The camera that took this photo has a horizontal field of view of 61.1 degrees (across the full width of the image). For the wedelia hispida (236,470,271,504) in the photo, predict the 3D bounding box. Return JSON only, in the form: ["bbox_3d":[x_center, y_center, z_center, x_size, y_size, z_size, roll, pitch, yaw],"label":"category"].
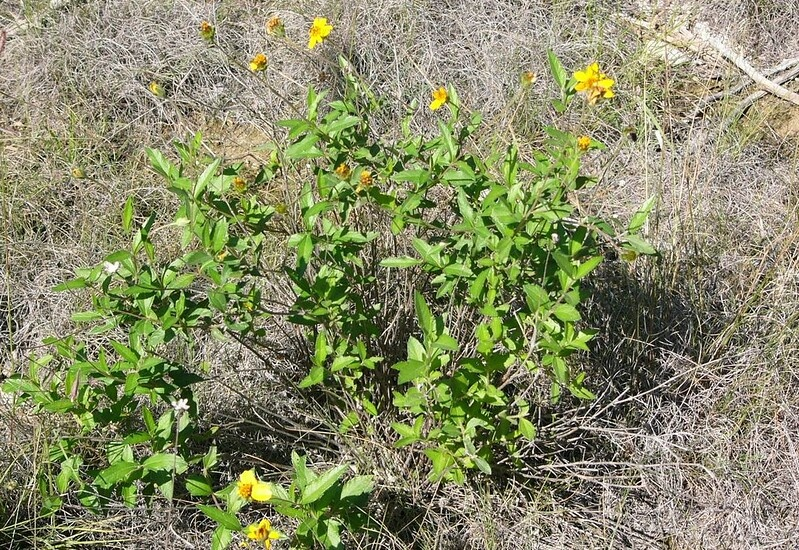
[{"bbox_3d":[-0.561,0.835,2.654,0.135,0.105,0.099,15,65,12],"label":"wedelia hispida"}]
